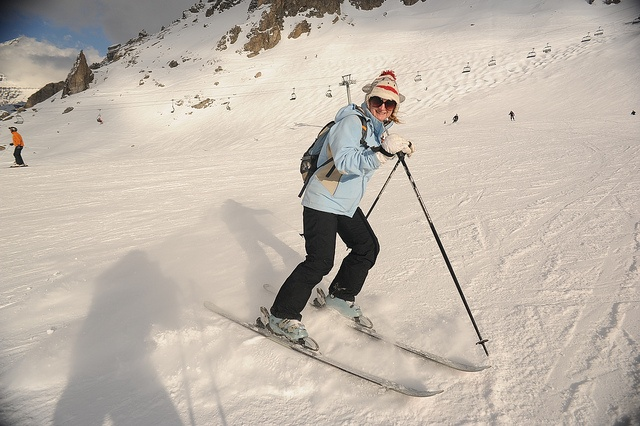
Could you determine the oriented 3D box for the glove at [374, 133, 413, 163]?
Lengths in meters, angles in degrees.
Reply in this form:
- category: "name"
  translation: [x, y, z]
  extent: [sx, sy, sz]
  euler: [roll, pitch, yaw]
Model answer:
- category: "glove"
  translation: [1.031, -0.918, 6.319]
  extent: [0.580, 0.248, 0.343]
  euler: [-28, 76, -1]
